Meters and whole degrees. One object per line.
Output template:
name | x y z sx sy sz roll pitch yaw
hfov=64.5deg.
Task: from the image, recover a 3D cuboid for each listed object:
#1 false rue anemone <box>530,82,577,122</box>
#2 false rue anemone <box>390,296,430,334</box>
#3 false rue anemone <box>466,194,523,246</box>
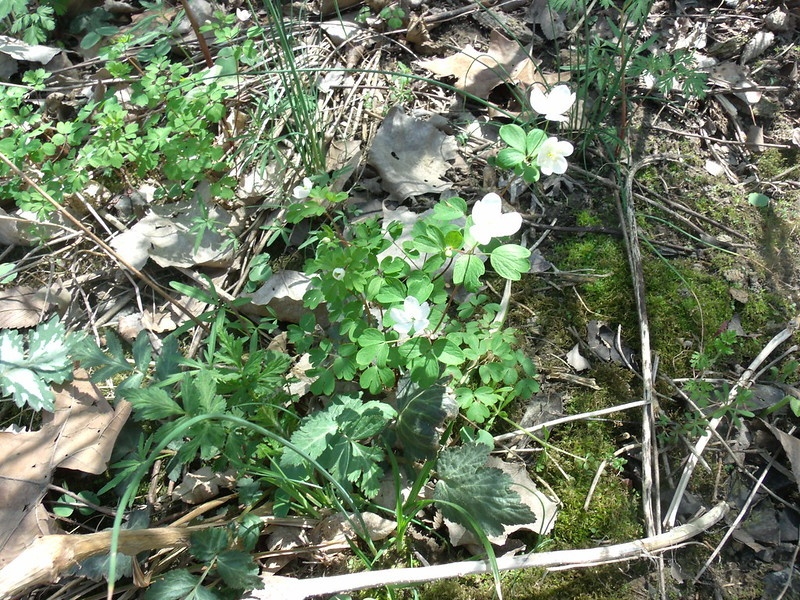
false rue anemone | 0.747 -0.962 3.090 0.179 0.214 0.277 -8 23 19
false rue anemone | 0.061 0.054 2.941 0.166 0.178 0.082 -2 15 15
false rue anemone | 0.419 -0.367 2.863 0.230 0.211 0.114 -46 -1 -1
